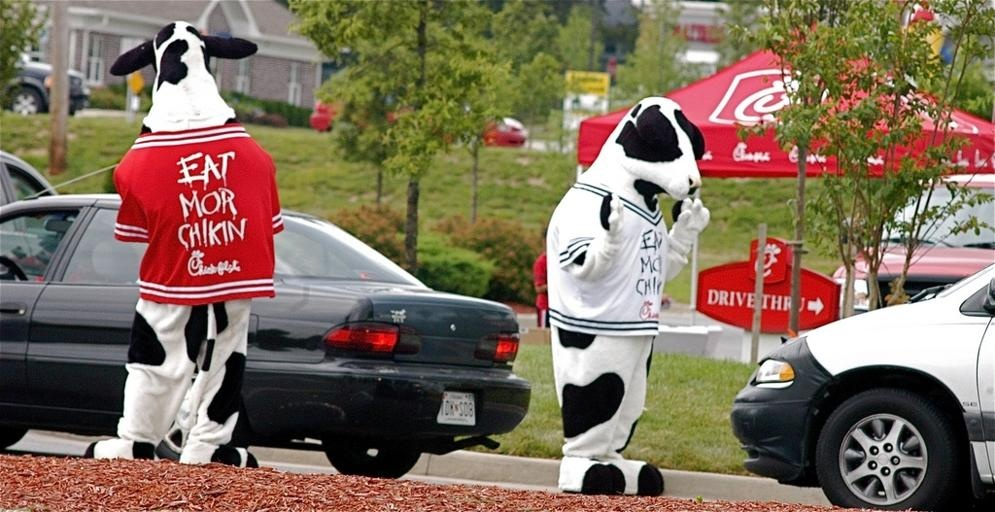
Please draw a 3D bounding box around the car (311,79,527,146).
[{"bbox_3d":[-1.354,-2.200,29.861,3.434,0.731,0.864,2,10,-7],"label":"car"}]

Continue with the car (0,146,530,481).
[{"bbox_3d":[-2.698,0.972,25.353,7.511,2.271,3.126,2,0,20],"label":"car"}]
